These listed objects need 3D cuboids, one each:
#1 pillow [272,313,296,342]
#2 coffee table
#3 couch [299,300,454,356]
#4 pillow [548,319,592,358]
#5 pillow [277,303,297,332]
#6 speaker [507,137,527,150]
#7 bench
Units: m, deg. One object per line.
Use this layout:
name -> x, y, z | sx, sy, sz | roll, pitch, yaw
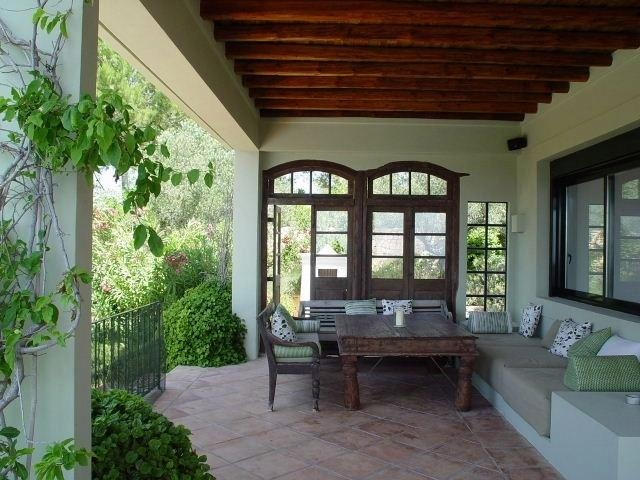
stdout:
pillow -> -0.420, 1.010, 5.333 | 0.114, 0.272, 0.265 | -31, -19, 30
coffee table -> 0.975, 1.460, 5.594 | 1.561, 0.863, 1.090 | 0, 3, 2
couch -> 0.532, 1.391, 7.554 | 0.557, 0.699, 1.746 | -19, -13, 43
pillow -> 2.959, 1.171, 5.495 | 0.128, 0.391, 0.403 | 31, -10, -20
pillow -> -0.402, 1.005, 5.935 | 0.101, 0.334, 0.348 | -27, -10, -4
speaker -> 3.046, -1.509, 7.241 | 0.241, 0.191, 0.341 | -6, 5, -19
bench -> -0.279, 1.376, 5.985 | 0.706, 1.028, 1.625 | -3, 0, 6
